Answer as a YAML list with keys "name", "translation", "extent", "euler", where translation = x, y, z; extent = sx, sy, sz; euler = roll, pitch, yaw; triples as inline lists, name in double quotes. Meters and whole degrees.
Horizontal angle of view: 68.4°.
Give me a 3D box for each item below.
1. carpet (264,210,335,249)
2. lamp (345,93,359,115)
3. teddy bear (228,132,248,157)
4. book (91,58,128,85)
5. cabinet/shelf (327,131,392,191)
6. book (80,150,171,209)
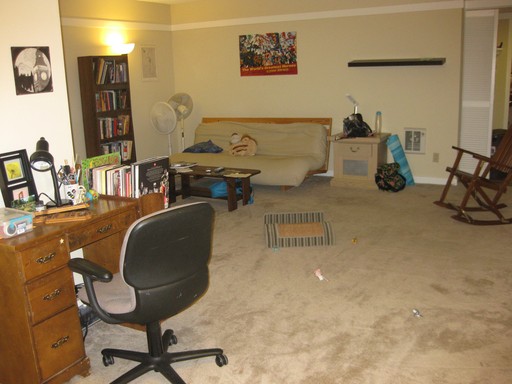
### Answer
- name: "carpet"
  translation: [0.508, 0.442, 4.573]
  extent: [0.786, 0.269, 0.619]
  euler: [-1, 17, -3]
- name: "lamp"
  translation: [1.684, -1.551, 6.596]
  extent: [0.227, 0.336, 0.511]
  euler: [4, 17, 12]
- name: "teddy bear"
  translation: [-0.335, -0.863, 6.853]
  extent: [0.357, 0.375, 0.159]
  euler: [-1, -10, -2]
- name: "book"
  translation: [-2.493, -2.080, 6.513]
  extent: [0.141, 0.419, 0.674]
  euler: [10, 19, 29]
- name: "cabinet/shelf"
  translation: [1.819, -0.503, 6.715]
  extent: [1.166, 1.151, 0.889]
  euler: [3, 8, 26]
- name: "book"
  translation: [-1.036, -0.223, 3.208]
  extent: [0.467, 0.653, 0.612]
  euler: [4, 11, 21]
